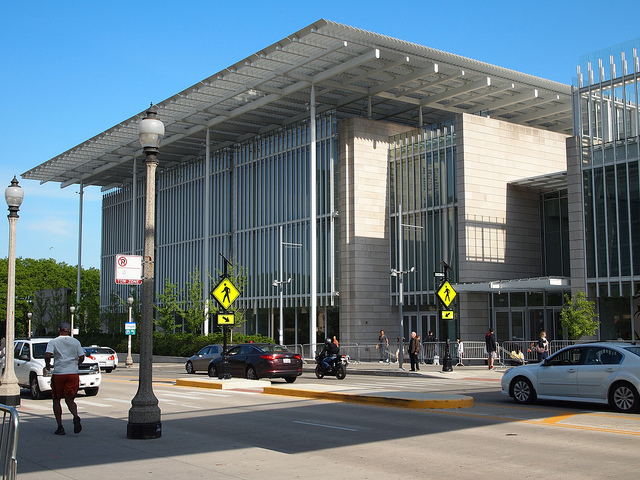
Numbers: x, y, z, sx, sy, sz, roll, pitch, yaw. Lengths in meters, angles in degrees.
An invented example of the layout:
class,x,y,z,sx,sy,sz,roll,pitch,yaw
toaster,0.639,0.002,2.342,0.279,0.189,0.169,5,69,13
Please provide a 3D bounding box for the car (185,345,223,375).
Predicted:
class,x,y,z,sx,sy,sz,roll,pitch,yaw
car,-5.735,6.131,43.740,1.448,1.025,2.449,8,-11,-44

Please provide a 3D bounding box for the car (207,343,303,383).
class,x,y,z,sx,sy,sz,roll,pitch,yaw
car,-2.404,5.381,37.563,3.029,1.701,1.345,-8,-12,38

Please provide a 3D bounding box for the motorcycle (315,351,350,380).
class,x,y,z,sx,sy,sz,roll,pitch,yaw
motorcycle,0.625,5.857,39.712,0.733,1.231,1.707,7,-12,-39

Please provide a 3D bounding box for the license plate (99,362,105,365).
class,x,y,z,sx,sy,sz,roll,pitch,yaw
license plate,-11.707,6.718,46.553,0.249,0.099,0.348,1,-10,-11
